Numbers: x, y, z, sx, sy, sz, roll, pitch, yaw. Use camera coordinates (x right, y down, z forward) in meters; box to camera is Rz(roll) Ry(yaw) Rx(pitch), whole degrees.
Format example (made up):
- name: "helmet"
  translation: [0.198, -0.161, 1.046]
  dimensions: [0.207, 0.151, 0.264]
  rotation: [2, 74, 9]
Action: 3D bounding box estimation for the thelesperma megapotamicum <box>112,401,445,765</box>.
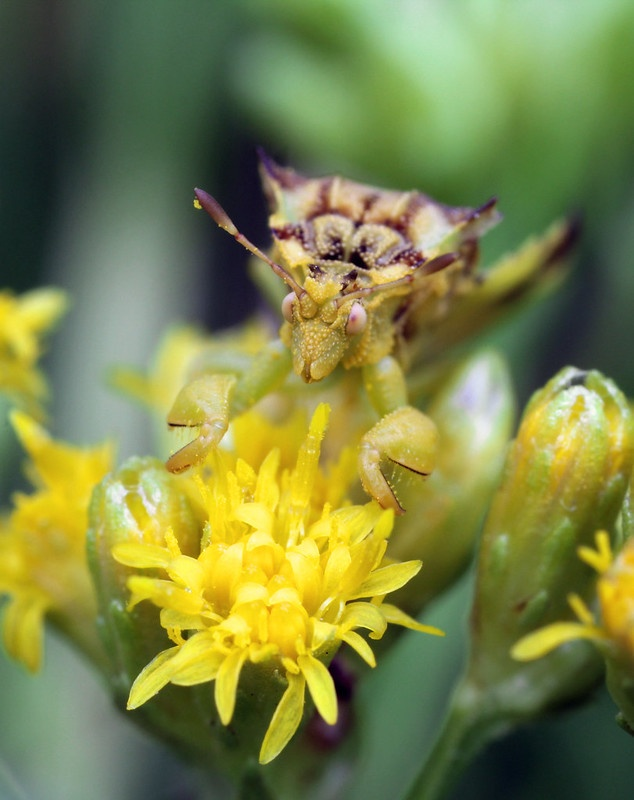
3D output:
- name: "thelesperma megapotamicum"
  translation: [-0.022, 0.157, 0.720]
  dimensions: [0.286, 0.262, 0.119]
  rotation: [-35, -15, -14]
